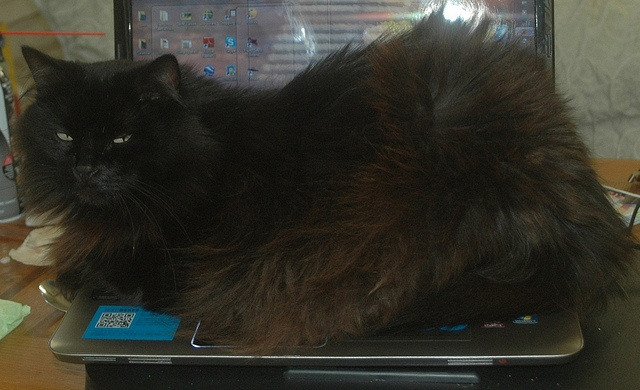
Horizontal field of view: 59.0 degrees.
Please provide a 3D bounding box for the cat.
[{"bbox_3d":[-0.024,-0.028,1.086,0.941,0.434,0.584,-2,12,-11],"label":"cat"}]
